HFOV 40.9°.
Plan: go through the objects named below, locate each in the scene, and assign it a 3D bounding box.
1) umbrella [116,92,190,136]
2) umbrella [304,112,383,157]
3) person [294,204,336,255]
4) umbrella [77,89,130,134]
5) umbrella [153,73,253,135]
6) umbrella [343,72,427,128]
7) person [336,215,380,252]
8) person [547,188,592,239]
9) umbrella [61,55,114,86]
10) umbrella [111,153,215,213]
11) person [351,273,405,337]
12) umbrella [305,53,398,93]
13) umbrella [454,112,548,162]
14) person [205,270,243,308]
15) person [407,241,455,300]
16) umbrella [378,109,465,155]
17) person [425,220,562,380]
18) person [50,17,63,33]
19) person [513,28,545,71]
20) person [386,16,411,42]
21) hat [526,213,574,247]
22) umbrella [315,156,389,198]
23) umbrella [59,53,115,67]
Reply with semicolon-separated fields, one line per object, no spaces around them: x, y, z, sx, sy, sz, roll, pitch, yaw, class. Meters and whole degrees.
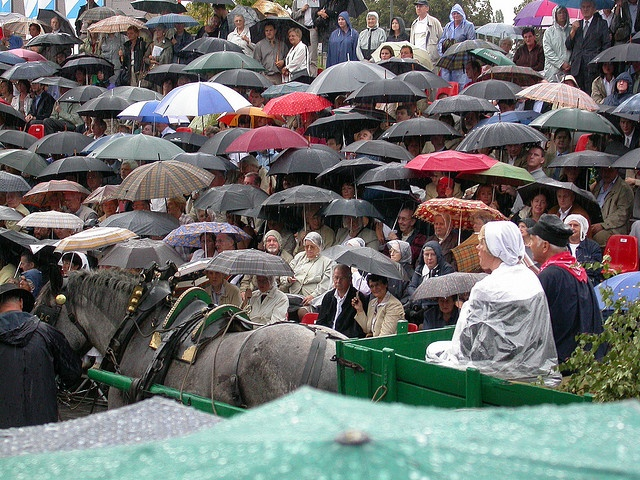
-3.391;-2.528;16.840;0.950;0.864;0.971;-1;-2;-3;umbrella
0.479;-1.918;15.435;1.055;0.373;1.069;-3;2;-12;umbrella
-0.211;-0.326;14.213;0.646;0.480;0.823;1;-11;20;person
-4.426;-2.722;17.676;0.760;0.777;0.778;-2;6;1;umbrella
-2.227;-2.630;16.680;1.612;0.606;1.652;-5;14;0;umbrella
1.142;-2.582;15.525;1.320;0.685;1.351;-2;0;-1;umbrella
0.652;-0.161;13.566;0.789;0.691;0.473;10;4;30;person
3.568;-0.353;12.228;0.766;0.701;0.407;-1;4;22;person
-5.750;-4.298;21.341;0.885;0.384;0.906;0;12;5;umbrella
-2.486;-0.977;13.739;1.481;0.611;0.730;1;6;-14;umbrella
0.743;1.013;10.750;0.616;1.090;0.553;-10;-15;43;person
0.459;-2.959;15.410;0.912;0.377;0.922;-13;14;-9;umbrella
2.789;-1.629;13.336;0.774;0.354;0.782;-15;0;3;umbrella
-1.286;0.648;11.290;0.409;0.751;0.261;-9;-2;19;person
1.456;0.394;11.350;0.612;0.860;0.516;-1;14;2;person
1.793;-1.876;14.691;0.883;0.454;0.907;2;6;32;umbrella
1.605;0.539;7.575;1.091;1.404;0.487;4;6;16;person
-7.995;-6.630;26.012;0.346;0.598;1.086;1;6;-16;person
4.766;-4.340;19.571;0.677;1.044;0.626;1;5;25;person
1.929;-5.264;21.154;0.540;0.769;1.408;3;6;6;person
2.254;-0.109;8.379;0.349;0.190;0.254;23;24;21;hat
0.500;-1.187;14.124;0.810;0.486;0.802;11;-26;-37;umbrella
-5.880;-4.514;21.310;1.016;0.344;0.940;4;6;18;umbrella
